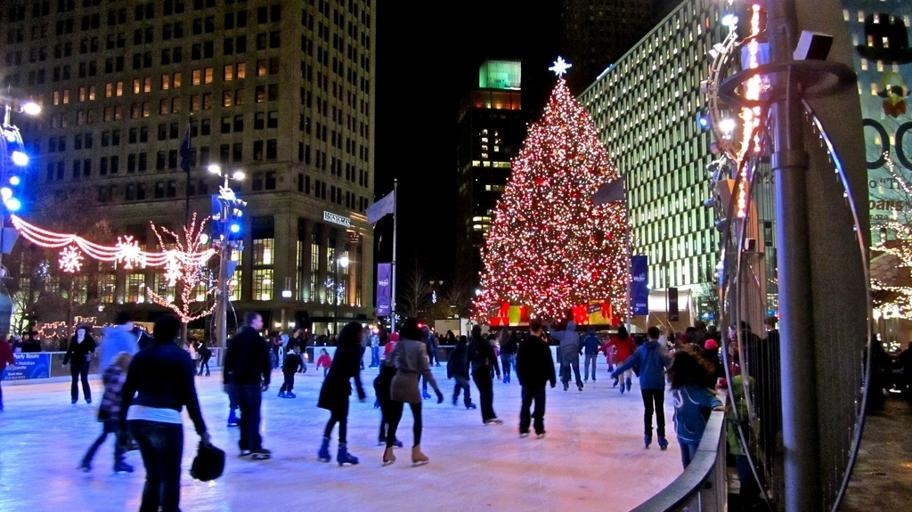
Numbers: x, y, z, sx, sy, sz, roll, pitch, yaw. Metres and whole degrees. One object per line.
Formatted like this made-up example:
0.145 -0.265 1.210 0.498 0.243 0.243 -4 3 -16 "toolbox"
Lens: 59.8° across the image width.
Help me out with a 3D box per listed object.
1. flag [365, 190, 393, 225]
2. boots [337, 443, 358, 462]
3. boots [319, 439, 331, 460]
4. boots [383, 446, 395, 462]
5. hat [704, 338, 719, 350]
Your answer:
-4.430 -2.843 46.547 1.420 2.050 4.154 1 -8 -3 "flag"
-2.787 5.004 20.217 0.526 0.542 0.353 1 -8 -8 "boots"
-3.435 4.991 20.548 0.304 0.553 0.498 2 -8 -9 "boots"
-1.728 5.094 20.335 0.378 0.393 0.273 6 -10 -37 "boots"
7.823 2.686 24.284 0.432 0.137 0.426 -29 7 9 "hat"
